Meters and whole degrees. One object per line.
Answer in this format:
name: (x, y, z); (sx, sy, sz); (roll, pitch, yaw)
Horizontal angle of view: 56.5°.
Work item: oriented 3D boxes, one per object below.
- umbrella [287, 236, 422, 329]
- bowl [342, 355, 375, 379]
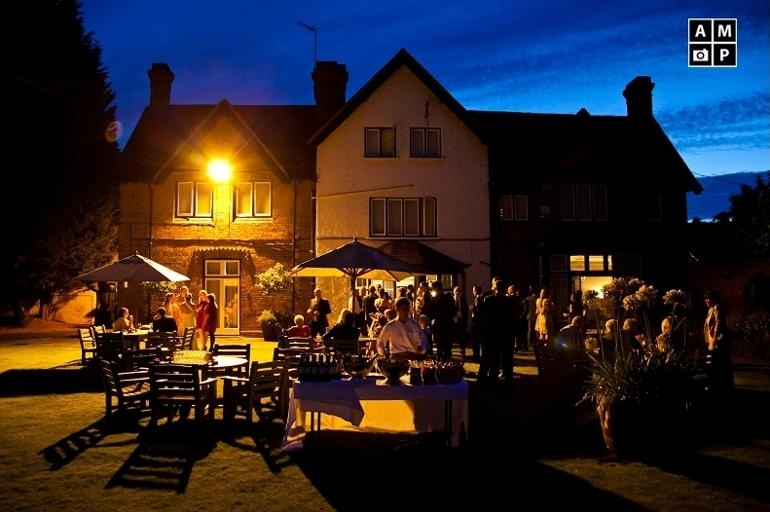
umbrella: (-0.913, 0.747, 21.136); (2.920, 2.347, 2.965); (-7, 18, -41)
bowl: (-0.613, 2.577, 16.348); (0.491, 0.365, 0.518); (1, -16, 0)
